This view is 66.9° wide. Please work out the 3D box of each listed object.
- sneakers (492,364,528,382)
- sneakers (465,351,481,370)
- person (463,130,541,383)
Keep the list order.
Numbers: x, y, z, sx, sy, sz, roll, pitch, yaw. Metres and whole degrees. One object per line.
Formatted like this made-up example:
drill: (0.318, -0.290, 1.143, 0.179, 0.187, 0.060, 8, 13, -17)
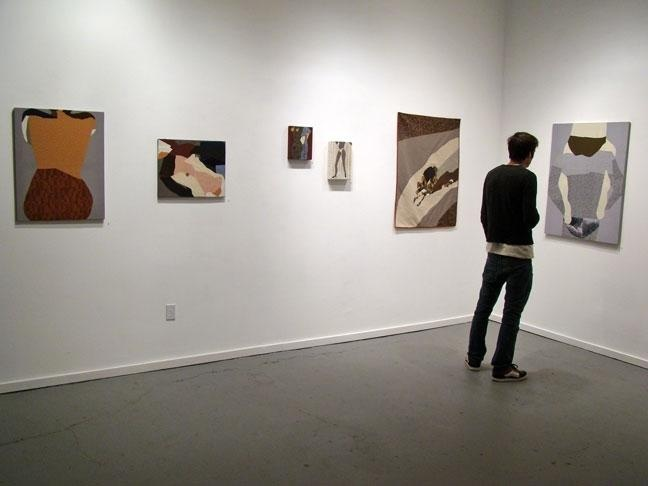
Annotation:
sneakers: (1.656, 1.180, 4.452, 0.314, 0.164, 0.133, 0, 1, -13)
sneakers: (1.384, 1.108, 4.596, 0.070, 0.102, 0.214, 1, 5, 1)
person: (1.600, 0.137, 4.340, 0.539, 2.158, 0.474, 7, 15, 26)
